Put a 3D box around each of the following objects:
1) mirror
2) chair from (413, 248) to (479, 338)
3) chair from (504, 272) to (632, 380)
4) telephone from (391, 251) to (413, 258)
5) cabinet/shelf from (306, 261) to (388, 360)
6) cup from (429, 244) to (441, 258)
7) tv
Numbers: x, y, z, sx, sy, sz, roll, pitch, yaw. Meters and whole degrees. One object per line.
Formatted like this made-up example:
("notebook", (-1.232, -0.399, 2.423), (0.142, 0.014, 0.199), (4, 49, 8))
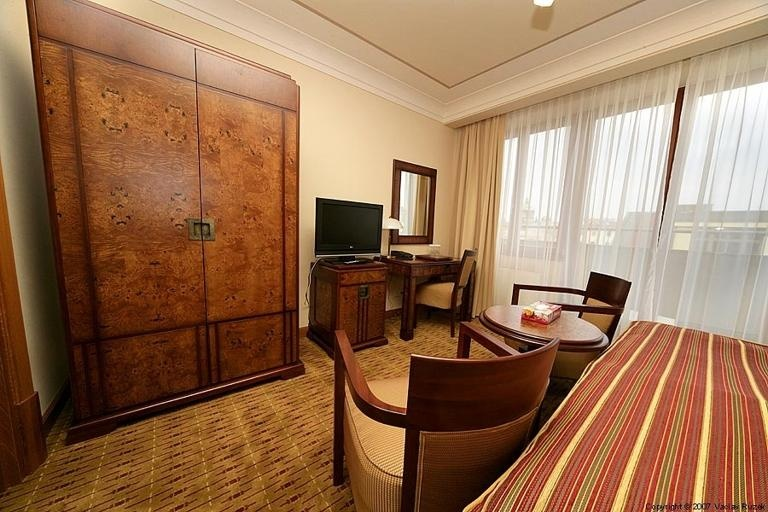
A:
("mirror", (0.371, -0.618, 5.532), (0.036, 0.932, 0.769), (7, 7, 42))
("chair", (0.666, 0.369, 5.190), (0.696, 0.830, 0.610), (5, 6, 33))
("chair", (1.545, 0.584, 3.900), (0.852, 0.848, 0.702), (5, 10, -4))
("telephone", (0.213, -0.012, 5.201), (0.149, 0.037, 0.113), (9, 11, 42))
("cabinet/shelf", (-0.208, 0.472, 4.738), (0.921, 1.124, 0.881), (-3, 7, -33))
("cup", (0.643, -0.060, 5.519), (0.169, 0.159, 0.158), (-1, 9, 0))
("tv", (-0.371, -0.255, 4.523), (0.781, 0.584, 0.079), (-2, 6, -34))
